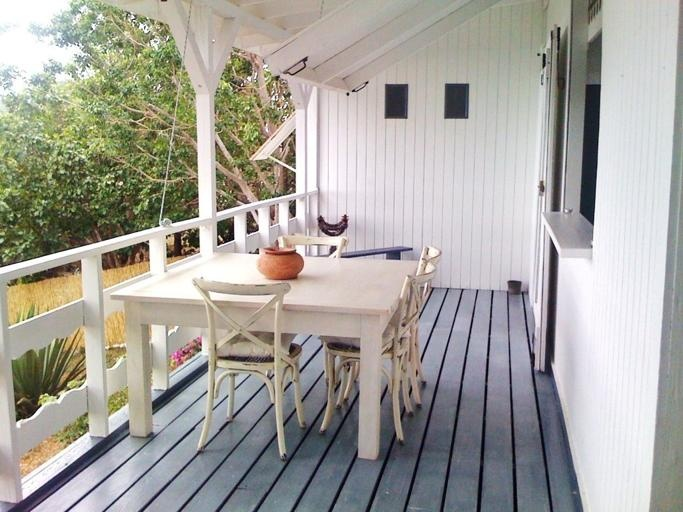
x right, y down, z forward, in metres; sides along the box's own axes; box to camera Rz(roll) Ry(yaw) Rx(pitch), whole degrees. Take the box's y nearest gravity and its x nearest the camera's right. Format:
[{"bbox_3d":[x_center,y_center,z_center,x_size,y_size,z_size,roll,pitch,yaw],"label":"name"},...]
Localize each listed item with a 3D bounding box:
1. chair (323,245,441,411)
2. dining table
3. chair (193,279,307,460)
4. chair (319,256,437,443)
[{"bbox_3d":[0.216,0.652,3.474,0.632,1.074,0.643,3,3,19],"label":"chair"},{"bbox_3d":[-0.388,0.336,3.550,1.332,0.882,1.435,2,6,12],"label":"dining table"},{"bbox_3d":[-0.560,0.668,3.220,0.568,1.061,0.676,1,3,6],"label":"chair"},{"bbox_3d":[0.281,0.545,3.911,0.954,1.606,0.935,2,5,11],"label":"chair"}]
